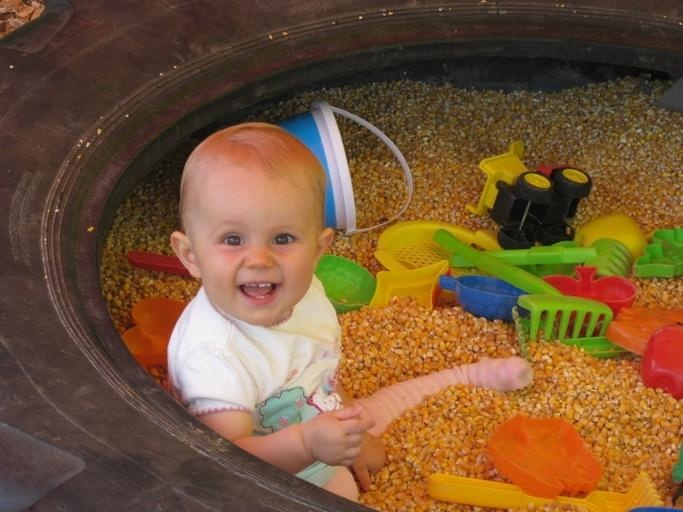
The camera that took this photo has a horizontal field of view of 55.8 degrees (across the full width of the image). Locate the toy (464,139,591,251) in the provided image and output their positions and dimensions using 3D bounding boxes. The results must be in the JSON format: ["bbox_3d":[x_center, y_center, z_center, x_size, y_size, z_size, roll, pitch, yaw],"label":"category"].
[{"bbox_3d":[0.719,-0.221,2.516,0.331,0.268,0.418,-3,35,-16],"label":"toy"}]

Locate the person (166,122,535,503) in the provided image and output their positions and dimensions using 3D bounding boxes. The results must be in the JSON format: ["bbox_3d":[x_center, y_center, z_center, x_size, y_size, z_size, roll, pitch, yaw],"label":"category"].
[{"bbox_3d":[0.058,0.176,1.757,1.051,0.991,0.716,-11,26,-16],"label":"person"}]

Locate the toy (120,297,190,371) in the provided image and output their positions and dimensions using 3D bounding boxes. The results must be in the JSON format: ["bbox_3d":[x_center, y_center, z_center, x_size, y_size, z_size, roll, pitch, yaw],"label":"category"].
[{"bbox_3d":[-0.610,0.223,2.015,0.258,0.089,0.196,-9,22,6],"label":"toy"}]

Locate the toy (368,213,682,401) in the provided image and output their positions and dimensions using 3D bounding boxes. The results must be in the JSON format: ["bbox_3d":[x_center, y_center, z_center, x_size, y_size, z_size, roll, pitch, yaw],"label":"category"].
[{"bbox_3d":[0.603,0.219,2.364,0.998,0.223,0.570,9,42,7],"label":"toy"}]

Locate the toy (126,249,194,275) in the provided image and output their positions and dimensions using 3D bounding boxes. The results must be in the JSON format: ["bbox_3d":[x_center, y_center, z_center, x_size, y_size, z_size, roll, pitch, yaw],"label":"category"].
[{"bbox_3d":[-0.593,0.035,2.082,0.185,0.042,0.037,11,55,-14],"label":"toy"}]

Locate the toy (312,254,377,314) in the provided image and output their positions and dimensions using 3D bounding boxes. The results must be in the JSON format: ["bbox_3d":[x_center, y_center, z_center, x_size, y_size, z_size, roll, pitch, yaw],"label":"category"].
[{"bbox_3d":[-0.014,0.124,2.362,0.220,0.127,0.163,39,64,4],"label":"toy"}]

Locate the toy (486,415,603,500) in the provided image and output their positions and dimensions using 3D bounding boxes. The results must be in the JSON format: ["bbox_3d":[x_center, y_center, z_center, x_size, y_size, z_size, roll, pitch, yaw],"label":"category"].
[{"bbox_3d":[0.547,0.533,1.731,0.225,0.052,0.211,17,38,9],"label":"toy"}]
